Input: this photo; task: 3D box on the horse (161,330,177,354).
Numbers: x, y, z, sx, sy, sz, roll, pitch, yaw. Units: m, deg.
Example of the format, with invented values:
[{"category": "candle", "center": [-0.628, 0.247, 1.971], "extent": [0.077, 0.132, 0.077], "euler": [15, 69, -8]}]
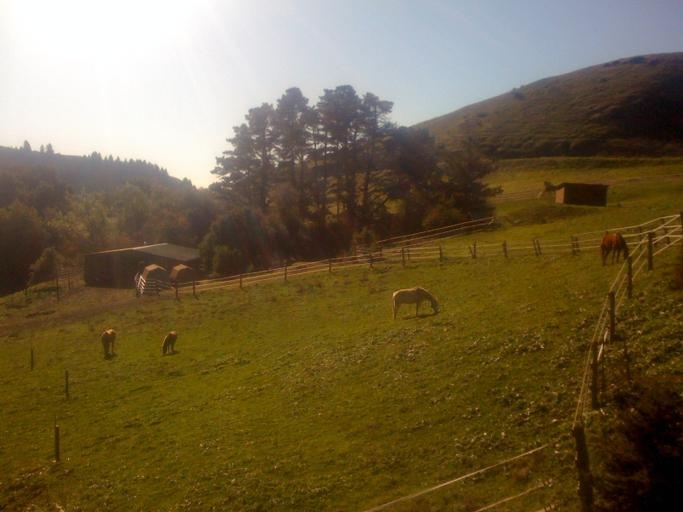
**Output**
[{"category": "horse", "center": [-11.013, 5.522, 37.556], "extent": [0.946, 1.200, 1.375], "euler": [-7, 9, 0]}]

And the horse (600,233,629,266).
[{"category": "horse", "center": [15.925, -0.452, 34.287], "extent": [2.743, 1.811, 0.668], "euler": [-4, 10, -36]}]

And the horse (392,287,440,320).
[{"category": "horse", "center": [4.761, 2.738, 36.164], "extent": [2.858, 1.737, 3.010], "euler": [-5, 10, 17]}]
